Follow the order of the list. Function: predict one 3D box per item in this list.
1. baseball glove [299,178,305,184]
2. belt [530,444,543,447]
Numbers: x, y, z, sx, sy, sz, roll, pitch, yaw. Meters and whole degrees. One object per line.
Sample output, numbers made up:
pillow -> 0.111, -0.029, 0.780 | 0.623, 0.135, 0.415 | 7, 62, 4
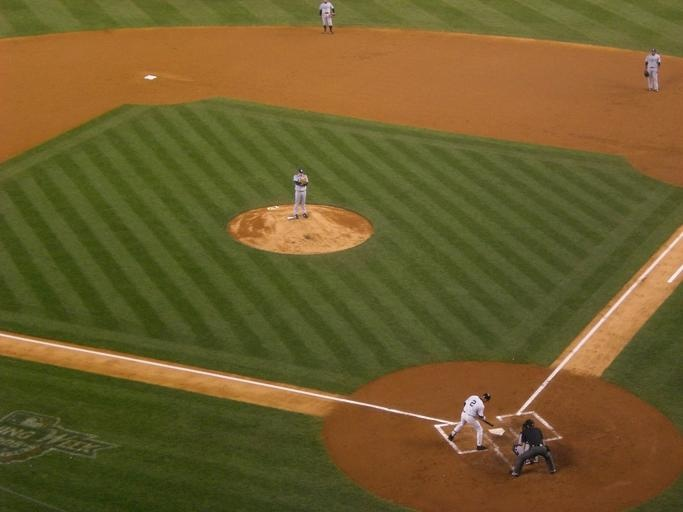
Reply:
baseball glove -> -1.523, -2.933, 42.460 | 0.253, 0.210, 0.089 | 0, 13, 1
belt -> 6.053, 5.866, 33.707 | 0.333, 0.089, 0.087 | -2, 37, 0
